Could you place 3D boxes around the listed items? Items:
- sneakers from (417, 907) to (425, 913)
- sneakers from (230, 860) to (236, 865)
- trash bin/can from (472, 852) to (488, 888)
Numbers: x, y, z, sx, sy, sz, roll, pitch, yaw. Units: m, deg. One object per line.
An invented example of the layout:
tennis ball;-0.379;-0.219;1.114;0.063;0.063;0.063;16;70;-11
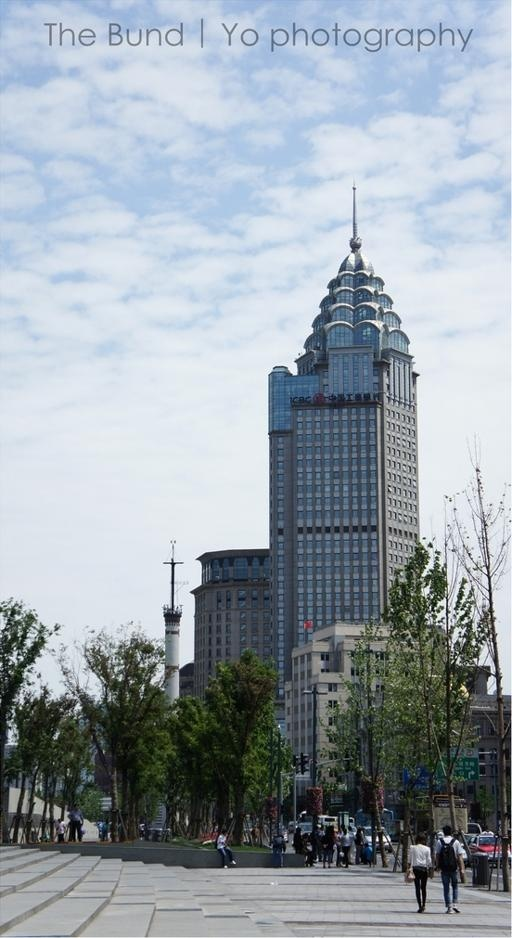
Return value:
sneakers;3.981;10.734;39.607;0.125;0.192;0.114;1;-33;13
sneakers;-0.777;14.636;60.429;0.195;0.146;0.324;3;-17;-20
trash bin/can;6.859;12.406;50.326;0.500;1.020;1.660;-2;-13;7
